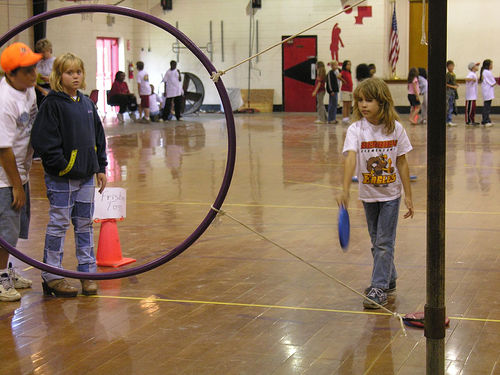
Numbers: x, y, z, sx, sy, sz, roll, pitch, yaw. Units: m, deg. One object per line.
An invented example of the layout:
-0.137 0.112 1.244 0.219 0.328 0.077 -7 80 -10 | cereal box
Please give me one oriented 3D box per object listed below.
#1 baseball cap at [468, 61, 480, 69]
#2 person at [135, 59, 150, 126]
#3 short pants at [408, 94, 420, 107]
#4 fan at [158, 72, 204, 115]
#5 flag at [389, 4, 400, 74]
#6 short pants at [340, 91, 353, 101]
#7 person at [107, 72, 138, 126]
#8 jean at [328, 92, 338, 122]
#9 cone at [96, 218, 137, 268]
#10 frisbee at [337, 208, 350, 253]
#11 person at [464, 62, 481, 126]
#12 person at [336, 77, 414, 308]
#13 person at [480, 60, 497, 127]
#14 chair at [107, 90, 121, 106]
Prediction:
6.501 -3.572 15.355 0.212 0.189 0.542 4 12 24 | baseball cap
-3.496 -3.076 16.948 0.568 1.981 0.531 9 14 28 | person
4.878 -2.601 15.685 0.365 0.385 0.291 3 12 24 | short pants
-2.113 -3.405 19.155 1.264 1.455 0.982 11 20 28 | fan
5.438 -5.628 19.811 0.382 2.521 0.508 1 12 15 | flag
2.988 -2.845 16.288 0.367 0.297 0.588 0 11 7 | short pants
-3.974 -2.888 16.593 0.928 1.444 0.898 0 10 -15 | person
2.640 -2.575 16.756 0.281 0.941 0.870 0 11 8 | jean
-1.146 0.439 4.443 0.346 0.487 0.342 1 7 27 | cone
0.573 0.267 3.226 0.043 0.284 0.288 -3 6 19 | frisbee
6.589 -2.775 15.583 0.444 1.843 0.852 3 12 23 | person
0.843 0.022 3.486 0.453 1.479 0.623 2 12 16 | person
6.921 -2.765 15.356 0.435 1.913 0.865 3 12 23 | person
-4.277 -2.815 16.511 0.452 0.548 0.412 1 10 3 | chair
